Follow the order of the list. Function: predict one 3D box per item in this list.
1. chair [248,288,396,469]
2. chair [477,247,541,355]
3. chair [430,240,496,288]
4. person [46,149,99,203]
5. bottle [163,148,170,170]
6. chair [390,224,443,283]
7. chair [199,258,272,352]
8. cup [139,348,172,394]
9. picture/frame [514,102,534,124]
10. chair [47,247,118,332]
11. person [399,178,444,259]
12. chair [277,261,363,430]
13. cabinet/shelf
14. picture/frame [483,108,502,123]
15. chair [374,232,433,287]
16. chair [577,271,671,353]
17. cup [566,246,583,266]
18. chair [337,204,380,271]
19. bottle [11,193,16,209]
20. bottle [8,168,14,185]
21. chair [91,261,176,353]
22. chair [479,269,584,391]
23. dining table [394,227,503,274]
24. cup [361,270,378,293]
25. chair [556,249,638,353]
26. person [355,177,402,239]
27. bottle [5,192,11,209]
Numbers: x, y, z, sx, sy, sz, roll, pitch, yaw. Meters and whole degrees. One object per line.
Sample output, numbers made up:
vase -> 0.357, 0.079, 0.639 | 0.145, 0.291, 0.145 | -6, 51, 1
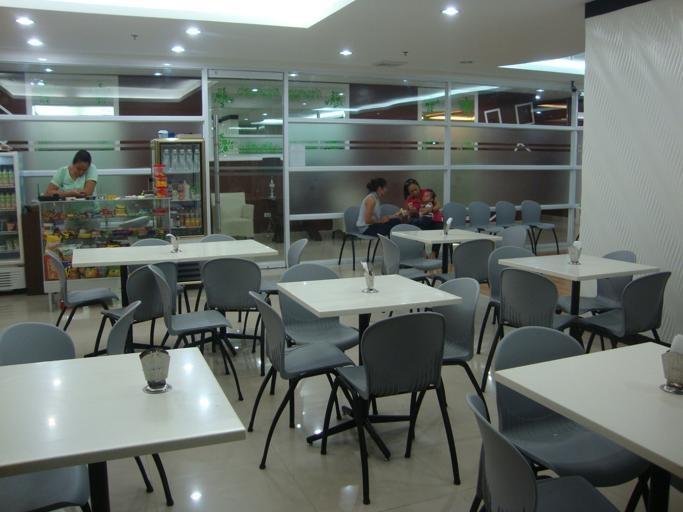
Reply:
chair -> -0.197, 0.720, 3.331 | 0.775, 1.018, 0.555 | -2, 10, -22
chair -> 1.300, 0.413, 4.828 | 0.570, 0.825, 0.523 | -14, -11, 41
chair -> 1.138, 0.048, 5.274 | 0.368, 0.676, 0.443 | -7, 18, -20
person -> -3.398, -0.863, 6.668 | 0.572, 0.896, 0.466 | -2, 17, -25
bottle -> -2.344, -1.288, 7.069 | 0.115, 0.297, 0.023 | -7, 13, -27
chair -> 0.751, -0.027, 6.277 | 0.408, 0.810, 0.555 | -7, 29, -12
chair -> -0.873, 0.294, 4.241 | 0.537, 0.907, 0.664 | -6, -27, -2
cup -> -0.780, 0.467, 2.227 | 0.163, 0.180, 0.171 | 0, 7, 0
picture/frame -> 3.255, -2.601, 9.554 | 0.340, 0.355, 0.040 | -7, 10, -27
chair -> -2.690, 0.349, 5.426 | 0.694, 1.003, 0.573 | -6, 15, -25
person -> 1.206, -0.641, 8.419 | 0.436, 1.129, 0.561 | -6, 16, 40
chair -> -0.224, 0.576, 3.641 | 0.667, 0.975, 0.560 | -2, 29, -17
cabinet/shelf -> -2.888, -0.179, 6.574 | 1.435, 1.052, 0.480 | -3, -8, -13
picture/frame -> 2.624, -2.478, 9.306 | 0.245, 0.267, 0.024 | -8, 14, -26
chair -> 0.734, 0.079, 5.730 | 0.506, 0.825, 0.590 | -6, 12, 11
chair -> 2.117, 0.461, 3.998 | 0.540, 0.773, 0.556 | -10, 10, -37
cup -> 1.966, -0.002, 4.415 | 0.142, 0.197, 0.143 | -2, 1, 0
chair -> 0.249, -0.298, 8.407 | 0.449, 0.847, 0.491 | -3, -4, 35
bottle -> -4.168, -0.697, 6.704 | 0.066, 0.168, 0.035 | -6, 13, -25
bottle -> -4.173, -0.991, 6.683 | 0.047, 0.198, 0.059 | 9, 15, 40
chair -> -1.789, 0.432, 4.320 | 0.599, 0.861, 0.575 | 5, 3, -11
chair -> 1.419, 0.512, 4.000 | 0.577, 0.966, 0.538 | -17, 27, -40
dining table -> 1.132, -0.208, 6.012 | 0.724, 0.765, 0.748 | -3, 7, -18
cup -> 0.173, 0.174, 3.570 | 0.111, 0.125, 0.113 | -1, 3, 0
chair -> 2.230, 0.204, 4.636 | 0.575, 0.552, 0.431 | -1, 5, -18
person -> 0.593, -0.756, 8.132 | 0.713, 0.864, 0.418 | -11, 15, -41
bottle -> -4.221, -0.693, 6.686 | 0.085, 0.173, 0.046 | -6, 13, -24
